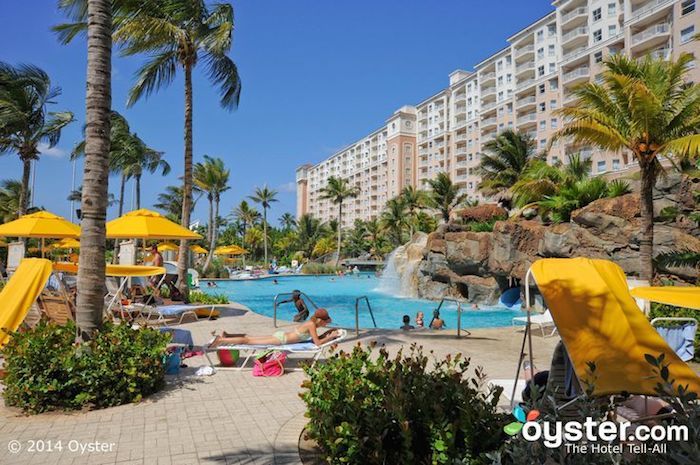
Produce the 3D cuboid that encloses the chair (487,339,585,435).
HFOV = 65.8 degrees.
[{"bbox_3d":[3.053,2.564,8.908,0.846,1.074,2.806,2,-15,5],"label":"chair"}]

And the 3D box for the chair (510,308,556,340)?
[{"bbox_3d":[5.438,2.659,15.868,1.082,0.726,4.823,-4,-10,20],"label":"chair"}]

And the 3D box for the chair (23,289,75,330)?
[{"bbox_3d":[-6.477,1.677,11.690,1.043,0.696,0.412,1,4,29],"label":"chair"}]

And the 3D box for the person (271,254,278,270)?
[{"bbox_3d":[-9.572,3.765,69.260,0.581,1.869,0.850,-4,0,10],"label":"person"}]

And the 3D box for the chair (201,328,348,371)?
[{"bbox_3d":[-1.659,2.701,12.150,2.959,0.954,1.208,3,-7,0],"label":"chair"}]

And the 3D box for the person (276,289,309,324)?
[{"bbox_3d":[-1.719,2.423,16.536,1.048,1.331,0.593,0,-4,-4],"label":"person"}]

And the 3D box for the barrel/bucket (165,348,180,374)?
[{"bbox_3d":[-3.779,2.748,11.548,0.185,0.537,0.469,-4,-9,20],"label":"barrel/bucket"}]

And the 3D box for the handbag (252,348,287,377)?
[{"bbox_3d":[-1.738,2.832,11.735,0.678,0.538,0.268,1,-9,-10],"label":"handbag"}]
